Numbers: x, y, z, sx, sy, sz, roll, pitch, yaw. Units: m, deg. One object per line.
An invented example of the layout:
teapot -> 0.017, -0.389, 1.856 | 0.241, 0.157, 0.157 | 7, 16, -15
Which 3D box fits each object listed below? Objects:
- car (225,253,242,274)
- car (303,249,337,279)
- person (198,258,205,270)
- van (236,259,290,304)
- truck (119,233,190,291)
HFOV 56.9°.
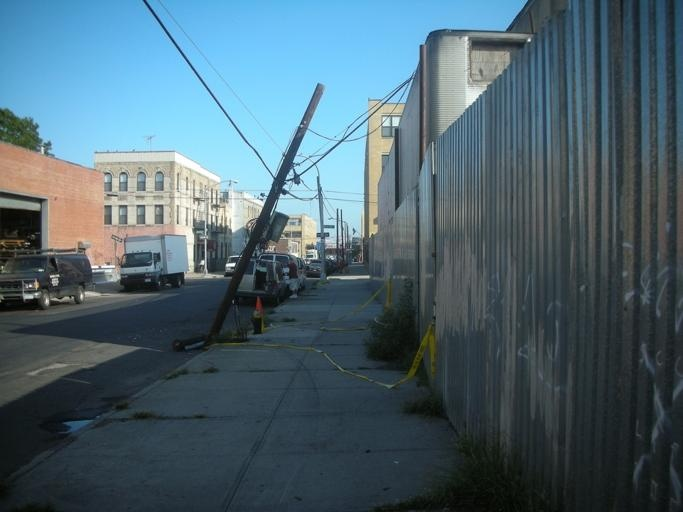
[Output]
car -> -7.008, 0.458, 40.073 | 1.295, 1.458, 3.325 | 0, -2, -7
car -> -2.455, 0.491, 58.853 | 2.128, 2.463, 6.468 | -1, -3, 3
person -> -14.688, 0.950, 66.452 | 0.422, 1.055, 0.583 | 0, 2, 14
van -> -2.754, 0.908, 22.548 | 1.017, 1.155, 2.116 | 1, 9, 8
truck -> -10.520, 0.348, 34.262 | 1.883, 2.749, 4.705 | -1, -3, 5
